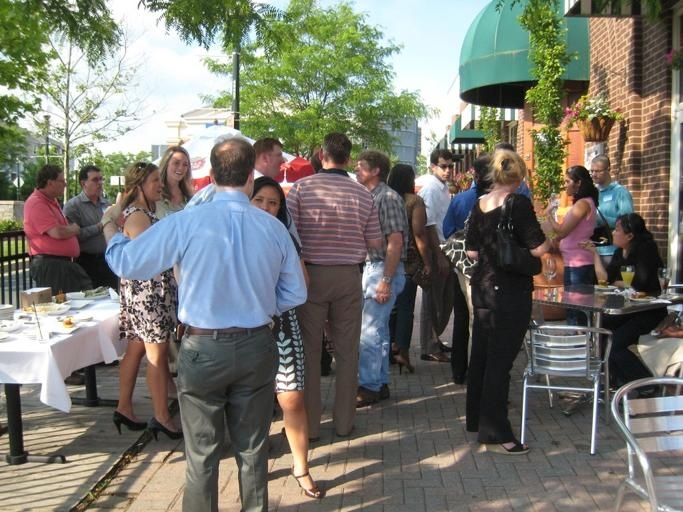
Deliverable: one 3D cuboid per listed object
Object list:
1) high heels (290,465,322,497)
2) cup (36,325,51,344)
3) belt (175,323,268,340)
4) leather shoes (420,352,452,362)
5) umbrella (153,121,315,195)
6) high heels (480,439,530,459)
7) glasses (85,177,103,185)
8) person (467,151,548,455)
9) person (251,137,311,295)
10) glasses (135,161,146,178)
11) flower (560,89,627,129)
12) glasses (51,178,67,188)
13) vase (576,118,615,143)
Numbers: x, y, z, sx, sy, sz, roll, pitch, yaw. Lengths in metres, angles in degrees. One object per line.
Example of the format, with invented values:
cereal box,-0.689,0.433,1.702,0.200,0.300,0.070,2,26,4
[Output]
high heels,-0.284,1.730,5.218,0.108,0.140,0.320,-6,6,-36
cup,-2.419,0.608,5.514,0.104,0.078,0.398,-5,12,-25
belt,-0.726,0.471,4.343,0.557,0.073,0.143,-2,11,-10
leather shoes,1.160,1.238,8.346,0.320,0.095,0.128,-2,-3,15
umbrella,-1.782,-1.667,10.942,1.754,0.805,1.773,-2,17,1
high heels,1.365,1.612,5.715,0.311,0.084,0.166,-2,-1,13
glasses,-3.036,-0.939,8.349,0.095,0.066,0.123,-5,-7,-41
person,1.360,0.377,5.717,0.569,2.500,0.526,-1,11,-3
person,-0.612,-0.468,5.930,0.436,1.201,0.428,-7,-9,-17
glasses,-1.714,-0.767,5.900,0.100,0.121,0.132,-1,9,-7
flower,3.869,-2.262,10.537,0.662,0.354,0.592,-7,9,-36
glasses,-3.162,-0.837,7.687,0.106,0.091,0.210,0,11,4
vase,3.912,-1.962,10.534,0.389,0.215,0.391,-1,-2,-9
